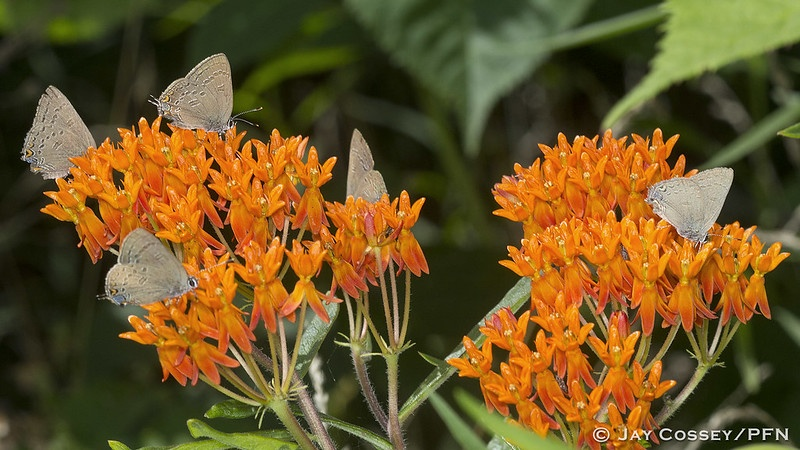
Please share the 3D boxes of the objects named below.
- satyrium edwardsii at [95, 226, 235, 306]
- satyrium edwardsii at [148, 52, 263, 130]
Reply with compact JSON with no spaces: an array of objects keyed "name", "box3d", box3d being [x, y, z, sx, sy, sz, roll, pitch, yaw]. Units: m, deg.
[{"name":"satyrium edwardsii","box3d":[-0.925,0.169,3.119,0.314,0.297,0.181,8,97,-5]},{"name":"satyrium edwardsii","box3d":[-0.778,-0.532,3.410,0.363,0.310,0.233,15,84,-8]}]
